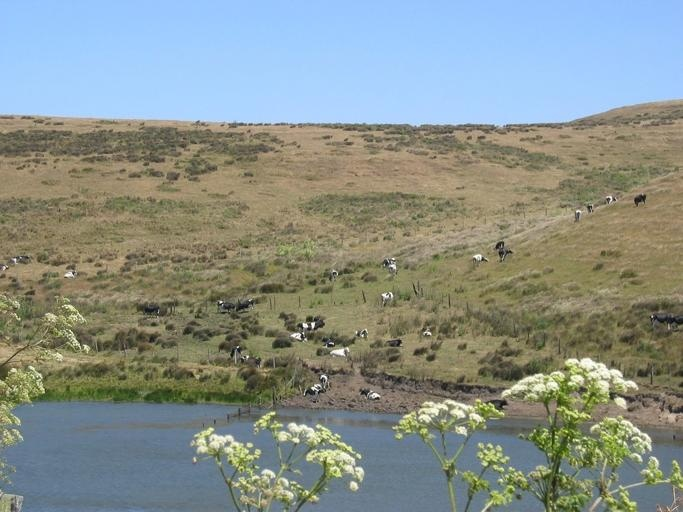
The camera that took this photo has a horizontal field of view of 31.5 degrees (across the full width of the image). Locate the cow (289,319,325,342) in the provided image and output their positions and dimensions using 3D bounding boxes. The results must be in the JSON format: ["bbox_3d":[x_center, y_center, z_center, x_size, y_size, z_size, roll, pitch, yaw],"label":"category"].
[{"bbox_3d":[-2.575,5.792,93.699,2.984,1.663,1.090,-16,6,-1],"label":"cow"}]

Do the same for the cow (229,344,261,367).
[{"bbox_3d":[-7.119,7.268,89.073,1.863,1.244,3.567,-1,2,-29],"label":"cow"}]

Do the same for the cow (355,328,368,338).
[{"bbox_3d":[1.602,5.908,92.276,0.514,0.458,0.813,1,-1,-36],"label":"cow"}]

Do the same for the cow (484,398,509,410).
[{"bbox_3d":[10.850,10.012,82.462,1.700,0.684,0.771,-1,2,-41],"label":"cow"}]

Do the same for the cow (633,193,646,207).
[{"bbox_3d":[25.132,-4.666,101.413,0.923,1.059,0.407,1,2,24],"label":"cow"}]

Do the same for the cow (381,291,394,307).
[{"bbox_3d":[3.835,3.499,99.349,1.008,0.945,1.600,0,2,1],"label":"cow"}]

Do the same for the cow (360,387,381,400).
[{"bbox_3d":[2.028,9.492,83.903,1.079,0.507,0.645,17,5,36],"label":"cow"}]

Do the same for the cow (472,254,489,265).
[{"bbox_3d":[12.213,0.243,105.569,1.413,0.742,1.440,0,2,2],"label":"cow"}]

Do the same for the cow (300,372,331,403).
[{"bbox_3d":[-1.724,9.213,84.822,1.544,1.563,2.182,2,2,35],"label":"cow"}]

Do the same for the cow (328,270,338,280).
[{"bbox_3d":[-0.688,1.699,109.390,0.618,0.883,0.321,1,2,-4],"label":"cow"}]
